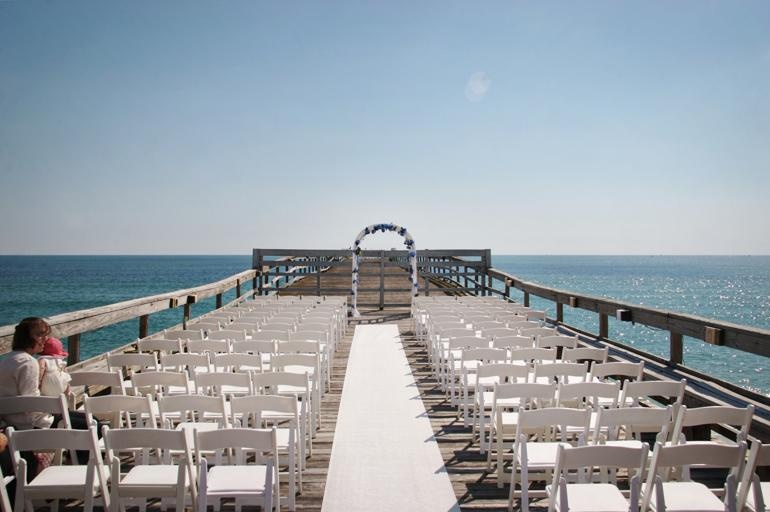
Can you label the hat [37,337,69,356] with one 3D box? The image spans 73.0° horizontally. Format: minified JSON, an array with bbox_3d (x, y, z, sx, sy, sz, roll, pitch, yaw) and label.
[{"bbox_3d":[-3.619,0.987,5.689,0.318,0.152,0.225,-3,-4,43],"label":"hat"}]
